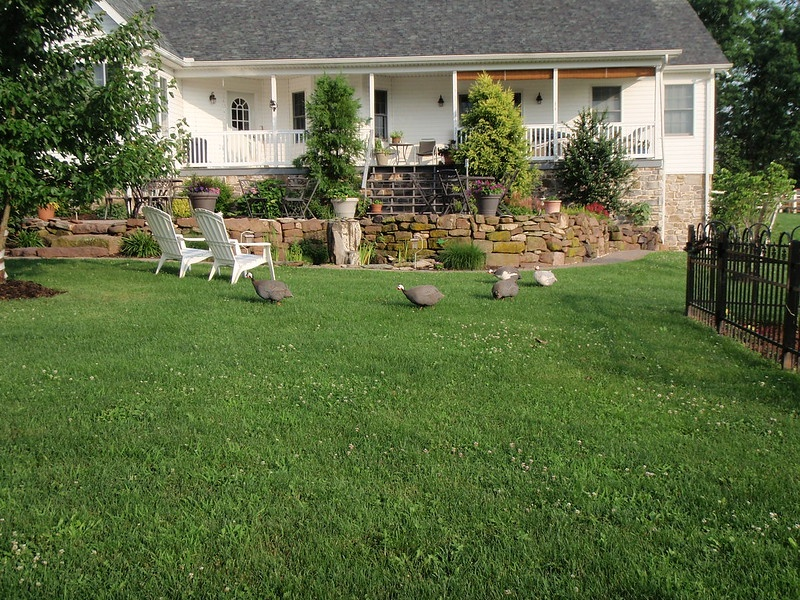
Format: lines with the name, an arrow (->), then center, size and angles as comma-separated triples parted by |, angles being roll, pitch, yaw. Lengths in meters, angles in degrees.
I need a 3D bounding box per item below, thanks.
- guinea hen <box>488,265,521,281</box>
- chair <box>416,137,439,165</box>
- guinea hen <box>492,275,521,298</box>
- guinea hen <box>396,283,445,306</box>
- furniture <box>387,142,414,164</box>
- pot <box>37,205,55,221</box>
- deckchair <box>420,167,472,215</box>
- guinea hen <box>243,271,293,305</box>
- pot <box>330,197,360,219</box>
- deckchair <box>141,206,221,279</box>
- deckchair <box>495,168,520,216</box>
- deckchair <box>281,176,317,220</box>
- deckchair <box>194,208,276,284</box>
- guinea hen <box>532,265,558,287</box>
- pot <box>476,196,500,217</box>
guinea hen -> 1.738, -0.464, 12.059 | 0.446, 0.254, 0.260 | -11, -5, 2
chair -> 0.845, -4.727, 23.355 | 0.669, 1.215, 0.700 | 1, 7, 4
guinea hen -> 1.654, -0.204, 11.624 | 0.388, 0.339, 0.494 | 2, 7, 6
guinea hen -> 0.328, -0.085, 10.614 | 0.530, 0.362, 0.317 | 0, 3, 5
furniture -> 0.049, -4.593, 23.192 | 0.762, 0.646, 0.827 | -2, 17, -1
pot -> -8.139, -2.013, 16.889 | 0.367, 0.325, 1.172 | -2, 9, -26
deckchair -> 1.349, -3.226, 20.250 | 0.854, 1.166, 0.913 | 0, -3, -27
guinea hen -> -1.940, -0.171, 10.825 | 0.619, 0.519, 0.331 | 1, 4, 5
pot -> -1.332, -2.218, 17.645 | 0.551, 0.468, 0.824 | 0, 8, -11
deckchair -> -4.025, -1.117, 13.444 | 0.976, 1.292, 1.284 | 9, 15, 41
deckchair -> 2.846, -2.846, 19.424 | 0.234, 1.717, 0.308 | 9, -29, 18
deckchair -> -2.771, -2.901, 20.323 | 0.956, 1.835, 1.330 | 2, 14, 0
deckchair -> -2.663, -0.870, 12.672 | 1.068, 1.132, 0.937 | -3, 2, -3
guinea hen -> 2.591, -0.444, 13.074 | 0.371, 0.362, 0.294 | 3, -1, -2
pot -> 2.113, -2.208, 17.587 | 0.451, 0.439, 0.478 | 0, 4, 0
